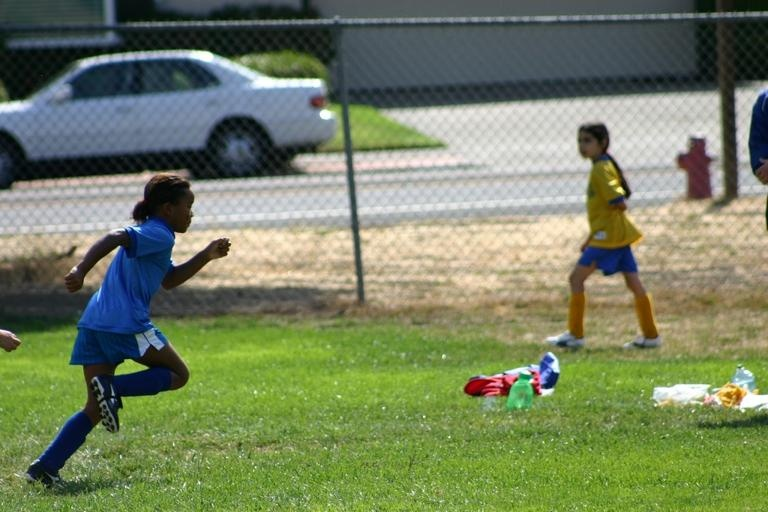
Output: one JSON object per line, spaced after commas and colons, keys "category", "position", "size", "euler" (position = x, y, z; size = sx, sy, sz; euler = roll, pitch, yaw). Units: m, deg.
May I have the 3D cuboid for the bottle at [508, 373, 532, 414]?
{"category": "bottle", "position": [1.324, 1.283, 14.414], "size": [0.205, 0.322, 0.396], "euler": [-2, 2, 38]}

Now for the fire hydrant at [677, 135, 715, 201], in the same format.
{"category": "fire hydrant", "position": [3.459, -0.984, 16.822], "size": [0.376, 0.702, 0.350], "euler": [-3, 2, 30]}

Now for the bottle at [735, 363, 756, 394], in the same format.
{"category": "bottle", "position": [3.455, 1.174, 14.552], "size": [0.215, 0.229, 0.331], "euler": [-3, 2, 15]}

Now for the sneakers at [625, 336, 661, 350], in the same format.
{"category": "sneakers", "position": [2.643, 0.888, 15.471], "size": [0.354, 0.131, 0.124], "euler": [1, -2, 7]}

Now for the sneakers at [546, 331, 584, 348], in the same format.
{"category": "sneakers", "position": [1.861, 0.861, 15.596], "size": [0.414, 0.154, 0.143], "euler": [3, -2, 13]}
